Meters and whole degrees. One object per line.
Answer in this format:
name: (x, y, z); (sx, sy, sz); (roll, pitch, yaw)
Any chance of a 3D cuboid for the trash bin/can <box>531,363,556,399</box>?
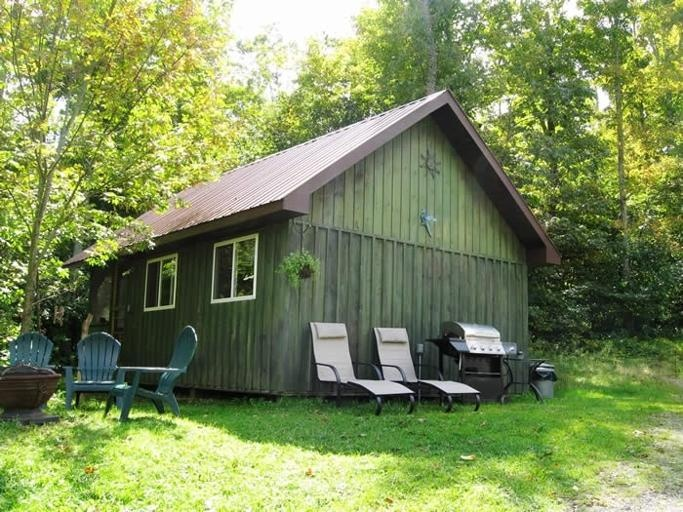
trash bin/can: (4.625, 2.855, 13.452); (0.660, 0.927, 0.729); (-3, -7, 11)
